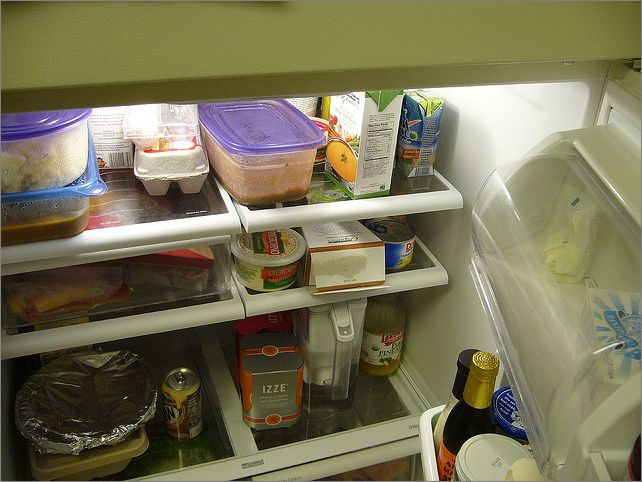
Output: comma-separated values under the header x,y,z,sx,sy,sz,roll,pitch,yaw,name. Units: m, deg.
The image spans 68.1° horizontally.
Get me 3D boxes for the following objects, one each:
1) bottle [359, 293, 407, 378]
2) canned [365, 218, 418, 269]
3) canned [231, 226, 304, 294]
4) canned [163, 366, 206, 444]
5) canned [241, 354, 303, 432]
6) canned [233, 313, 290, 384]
x,y,z,sx,sy,sz,roll,pitch,yaw,name
0.177,0.253,1.401,0.121,0.296,0.124,1,30,-1,bottle
0.184,0.023,1.248,0.124,0.083,0.127,7,40,8,canned
-0.122,0.054,1.136,0.175,0.109,0.134,-8,40,-11,canned
-0.358,0.425,1.233,0.092,0.165,0.092,-3,21,-16,canned
-0.135,0.395,1.269,0.162,0.154,0.161,1,4,-13,canned
-0.163,0.281,1.359,0.163,0.153,0.164,-5,35,-9,canned
